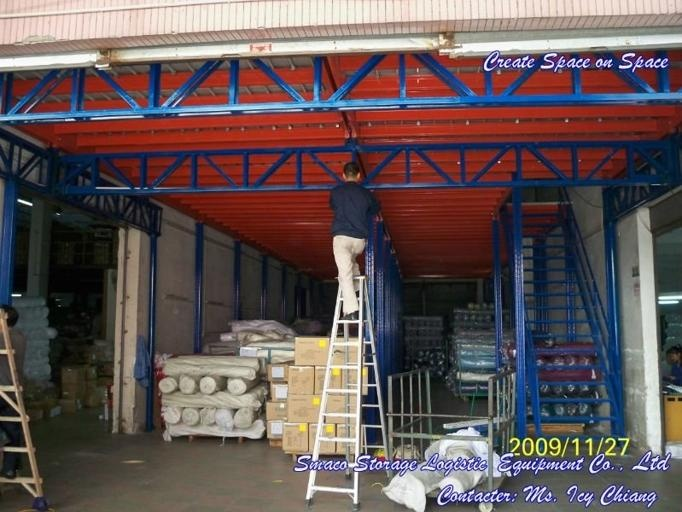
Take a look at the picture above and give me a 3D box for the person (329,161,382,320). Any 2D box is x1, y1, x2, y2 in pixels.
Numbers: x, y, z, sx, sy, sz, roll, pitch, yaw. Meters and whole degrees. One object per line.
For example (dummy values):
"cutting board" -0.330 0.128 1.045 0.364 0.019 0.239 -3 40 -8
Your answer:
"person" 0.219 -0.273 11.210 0.706 2.596 1.445 -1 -11 3

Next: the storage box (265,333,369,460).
"storage box" -0.336 2.288 11.479 1.522 1.950 2.118 0 -4 3

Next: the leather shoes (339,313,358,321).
"leather shoes" 0.138 0.882 10.526 0.300 0.119 0.090 1 -6 43
